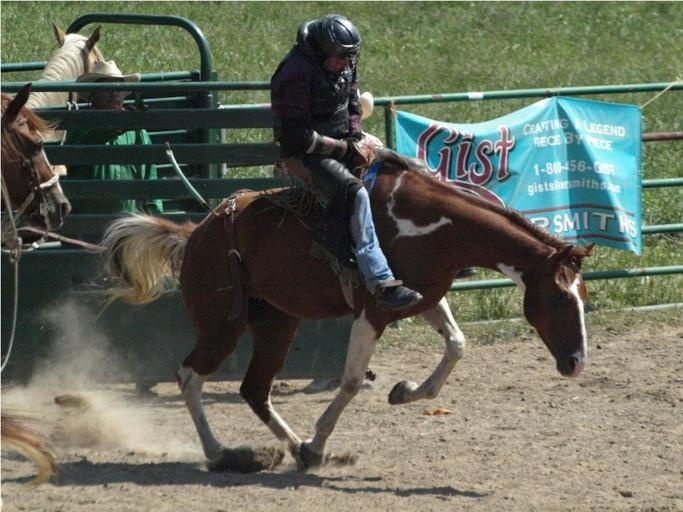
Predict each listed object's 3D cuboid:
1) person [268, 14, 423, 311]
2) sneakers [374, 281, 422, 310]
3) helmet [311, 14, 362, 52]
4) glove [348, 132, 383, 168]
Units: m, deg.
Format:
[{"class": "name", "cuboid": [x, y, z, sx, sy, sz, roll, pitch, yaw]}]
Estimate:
[{"class": "person", "cuboid": [-0.068, -0.796, 11.860, 0.857, 2.507, 1.118, -11, 22, -14]}, {"class": "sneakers", "cuboid": [0.446, 0.339, 11.834, 0.457, 0.198, 0.207, -8, 8, 37]}, {"class": "helmet", "cuboid": [-0.054, -1.937, 11.758, 0.411, 0.307, 0.298, 23, 62, -2]}, {"class": "glove", "cuboid": [0.199, -0.981, 12.293, 0.312, 0.145, 0.354, 8, 59, -13]}]
